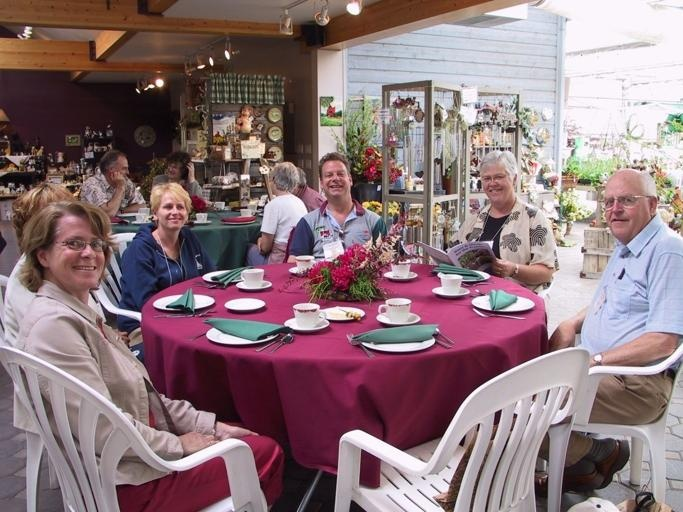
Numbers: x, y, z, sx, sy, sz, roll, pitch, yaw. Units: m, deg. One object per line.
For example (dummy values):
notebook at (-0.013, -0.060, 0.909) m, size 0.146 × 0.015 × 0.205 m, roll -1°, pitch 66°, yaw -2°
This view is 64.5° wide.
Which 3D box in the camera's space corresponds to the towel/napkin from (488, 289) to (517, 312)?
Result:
towel/napkin at (0.725, 0.191, 2.472) m, size 0.099 × 0.031 × 0.093 m, roll -13°, pitch 23°, yaw -36°

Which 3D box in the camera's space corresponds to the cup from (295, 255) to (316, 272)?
cup at (-0.193, 0.047, 2.971) m, size 0.099 × 0.048 × 0.066 m, roll 1°, pitch 5°, yaw 0°

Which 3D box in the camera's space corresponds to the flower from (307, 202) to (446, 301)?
flower at (0.071, 0.004, 2.671) m, size 0.492 × 0.242 × 0.333 m, roll -16°, pitch 5°, yaw 3°

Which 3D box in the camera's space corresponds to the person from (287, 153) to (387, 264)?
person at (-0.019, -0.329, 3.711) m, size 0.700 × 0.739 × 0.327 m, roll -3°, pitch 6°, yaw -5°

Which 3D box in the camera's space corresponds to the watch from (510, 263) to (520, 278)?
watch at (1.035, 0.092, 3.229) m, size 0.042 × 0.061 × 0.067 m, roll 17°, pitch 61°, yaw 38°

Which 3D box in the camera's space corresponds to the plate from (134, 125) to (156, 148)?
plate at (-4.281, -2.578, 11.820) m, size 0.466 × 0.469 × 0.100 m, roll -13°, pitch 18°, yaw -41°

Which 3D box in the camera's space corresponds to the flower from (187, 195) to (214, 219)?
flower at (-1.514, -0.533, 5.644) m, size 0.265 × 0.283 × 0.274 m, roll 2°, pitch 11°, yaw 10°

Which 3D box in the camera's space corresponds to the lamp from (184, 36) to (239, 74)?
lamp at (-1.744, -2.693, 7.181) m, size 0.676 × 0.507 × 1.904 m, roll -5°, pitch 14°, yaw -13°

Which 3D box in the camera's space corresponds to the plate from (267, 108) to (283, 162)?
plate at (-0.956, -1.746, 7.832) m, size 0.257 × 0.777 × 0.151 m, roll -6°, pitch 14°, yaw -17°

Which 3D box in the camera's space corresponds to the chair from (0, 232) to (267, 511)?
chair at (-0.767, 0.386, 2.310) m, size 1.042 × 1.271 × 0.740 m, roll -4°, pitch 6°, yaw -30°

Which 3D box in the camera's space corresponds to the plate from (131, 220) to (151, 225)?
plate at (-1.723, -0.280, 4.663) m, size 0.150 × 0.027 × 0.154 m, roll 1°, pitch 2°, yaw -2°

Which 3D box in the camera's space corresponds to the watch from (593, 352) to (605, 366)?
watch at (1.121, 0.450, 2.364) m, size 0.035 × 0.051 × 0.056 m, roll 7°, pitch -4°, yaw 5°

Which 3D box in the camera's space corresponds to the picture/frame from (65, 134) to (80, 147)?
picture/frame at (-5.546, -2.355, 11.143) m, size 0.248 × 0.233 × 0.033 m, roll -2°, pitch 3°, yaw -30°

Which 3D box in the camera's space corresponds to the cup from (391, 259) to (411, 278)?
cup at (0.326, 0.073, 2.922) m, size 0.088 × 0.076 × 0.090 m, roll -1°, pitch 13°, yaw 0°

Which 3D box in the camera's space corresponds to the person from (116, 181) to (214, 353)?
person at (-1.069, 0.078, 3.384) m, size 0.540 × 0.978 × 0.655 m, roll 0°, pitch 3°, yaw 27°

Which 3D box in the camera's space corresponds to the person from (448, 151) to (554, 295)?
person at (1.041, -0.177, 3.583) m, size 0.617 × 0.949 × 0.706 m, roll -9°, pitch 8°, yaw -42°

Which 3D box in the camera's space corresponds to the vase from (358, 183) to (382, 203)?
vase at (0.421, -0.847, 7.726) m, size 0.290 × 0.306 × 0.313 m, roll 1°, pitch 5°, yaw 17°

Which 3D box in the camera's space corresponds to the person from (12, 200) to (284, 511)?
person at (-0.747, 0.316, 2.523) m, size 1.132 × 1.530 × 0.893 m, roll -5°, pitch 5°, yaw -26°
